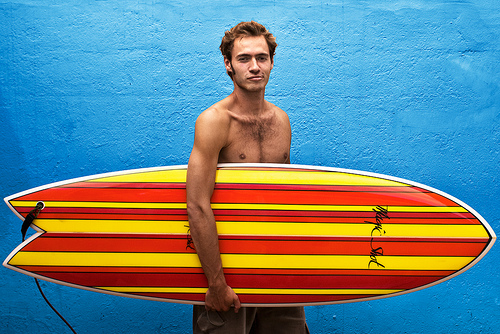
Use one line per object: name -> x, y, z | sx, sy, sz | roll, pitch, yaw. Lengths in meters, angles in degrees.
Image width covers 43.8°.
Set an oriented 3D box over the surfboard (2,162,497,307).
surfboard -> 0.018, 0.548, 5.075 | 3.776, 1.074, 0.874 | 3, 40, -3
